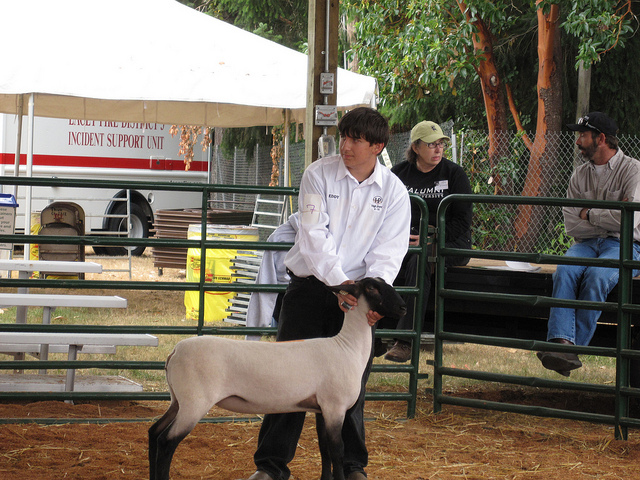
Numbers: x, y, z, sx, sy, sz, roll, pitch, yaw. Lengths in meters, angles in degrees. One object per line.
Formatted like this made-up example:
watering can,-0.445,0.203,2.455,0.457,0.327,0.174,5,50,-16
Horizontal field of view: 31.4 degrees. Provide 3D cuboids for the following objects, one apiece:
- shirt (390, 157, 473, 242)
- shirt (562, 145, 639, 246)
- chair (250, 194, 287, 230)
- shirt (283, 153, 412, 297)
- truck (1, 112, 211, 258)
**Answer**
shirt,1.308,-0.459,13.952,1.079,1.166,0.674,1,-3,26
shirt,3.277,-0.526,13.163,0.473,1.131,1.000,-3,6,-39
chair,-0.860,-0.493,19.390,0.418,0.904,0.493,5,25,3
shirt,0.307,-0.164,11.217,1.128,1.437,0.936,7,-6,14
truck,-3.949,-1.030,20.364,4.522,2.611,2.383,0,0,-38
